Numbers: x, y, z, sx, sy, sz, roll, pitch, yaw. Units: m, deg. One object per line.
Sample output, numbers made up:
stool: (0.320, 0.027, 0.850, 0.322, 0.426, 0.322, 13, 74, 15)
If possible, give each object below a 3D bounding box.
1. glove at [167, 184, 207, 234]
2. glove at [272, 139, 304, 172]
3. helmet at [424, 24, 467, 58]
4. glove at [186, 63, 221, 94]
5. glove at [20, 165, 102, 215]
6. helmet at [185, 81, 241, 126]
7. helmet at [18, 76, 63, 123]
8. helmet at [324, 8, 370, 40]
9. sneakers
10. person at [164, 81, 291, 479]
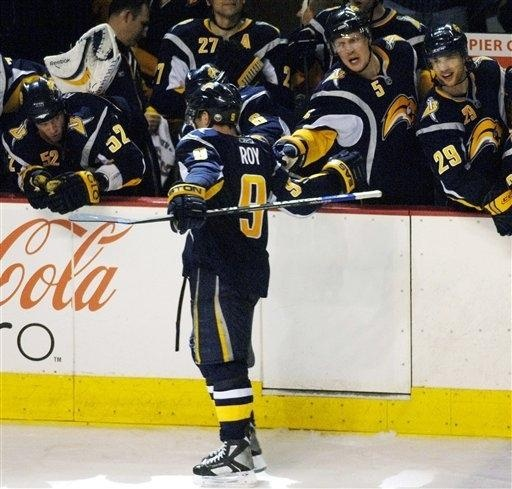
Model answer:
glove: (-0.293, -0.154, 4.469, 0.151, 0.204, 0.099, -14, 36, 31)
glove: (0.154, -0.445, 5.063, 0.127, 0.160, 0.147, 12, 20, 20)
helmet: (0.889, -0.954, 4.948, 0.148, 0.162, 0.178, -18, -5, 29)
glove: (-0.258, -0.810, 5.063, 0.171, 0.149, 0.129, 5, 3, 13)
glove: (-0.968, -0.277, 5.205, 0.234, 0.140, 0.314, 13, 21, 22)
helmet: (-0.201, -0.656, 4.732, 0.225, 0.177, 0.180, 29, 32, 28)
helmet: (-1.046, -0.701, 5.280, 0.181, 0.201, 0.231, -18, -15, 0)
helmet: (0.429, -1.076, 5.048, 0.149, 0.161, 0.168, -16, 1, 7)
sneakers: (-0.070, 0.952, 4.775, 0.415, 0.248, 0.133, 0, 6, 4)
person: (-0.161, 0.145, 4.677, 0.387, 1.784, 0.666, -7, -7, 37)
